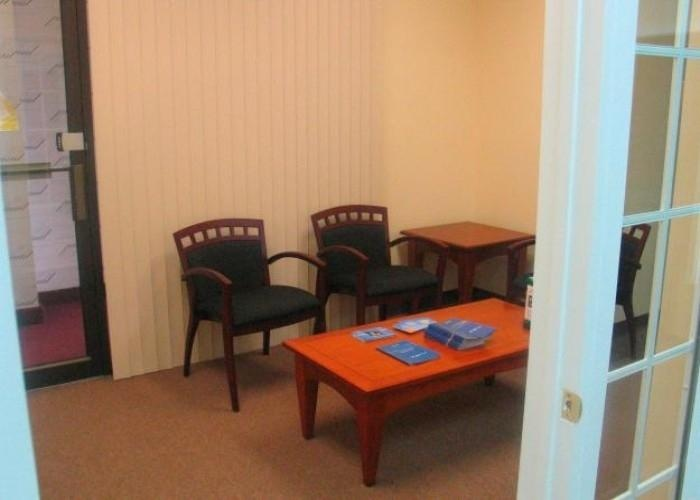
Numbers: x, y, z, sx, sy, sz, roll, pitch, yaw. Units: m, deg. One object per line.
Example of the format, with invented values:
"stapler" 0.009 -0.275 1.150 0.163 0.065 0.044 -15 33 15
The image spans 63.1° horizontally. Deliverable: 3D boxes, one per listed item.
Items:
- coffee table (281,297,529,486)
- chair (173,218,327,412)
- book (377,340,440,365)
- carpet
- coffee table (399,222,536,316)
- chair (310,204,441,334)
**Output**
"coffee table" 0.377 0.727 3.162 1.241 0.553 0.708 -13 19 -28
"chair" -0.677 0.366 3.790 0.776 1.028 0.831 9 14 35
"book" 0.310 0.528 2.970 0.221 0.031 0.277 -16 20 -36
"carpet" -1.902 0.519 3.662 0.374 0.383 0.270 -13 19 -29
"coffee table" 0.989 0.001 4.652 0.749 0.725 0.737 -10 17 -35
"chair" 0.116 0.065 4.393 0.991 1.209 0.902 -8 13 -34
